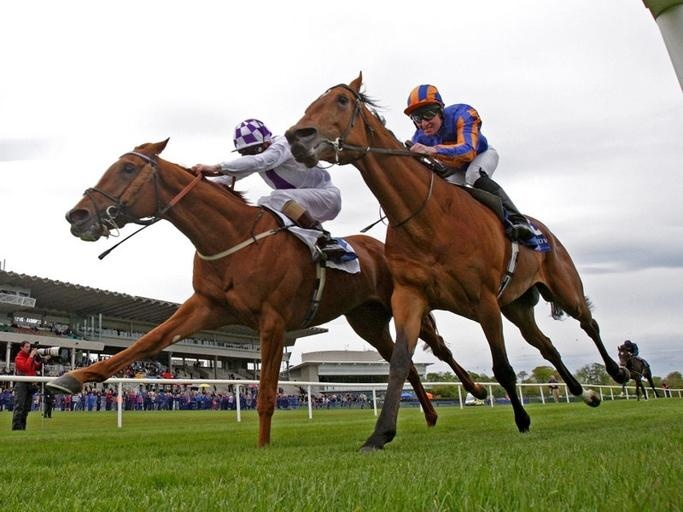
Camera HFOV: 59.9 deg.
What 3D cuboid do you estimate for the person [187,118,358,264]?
[{"bbox_3d":[-0.695,-0.655,6.023,2.177,1.274,0.834,13,-25,-37],"label":"person"}]

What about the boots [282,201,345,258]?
[{"bbox_3d":[-0.292,-0.235,5.581,0.749,0.160,0.281,29,-40,-7],"label":"boots"}]
